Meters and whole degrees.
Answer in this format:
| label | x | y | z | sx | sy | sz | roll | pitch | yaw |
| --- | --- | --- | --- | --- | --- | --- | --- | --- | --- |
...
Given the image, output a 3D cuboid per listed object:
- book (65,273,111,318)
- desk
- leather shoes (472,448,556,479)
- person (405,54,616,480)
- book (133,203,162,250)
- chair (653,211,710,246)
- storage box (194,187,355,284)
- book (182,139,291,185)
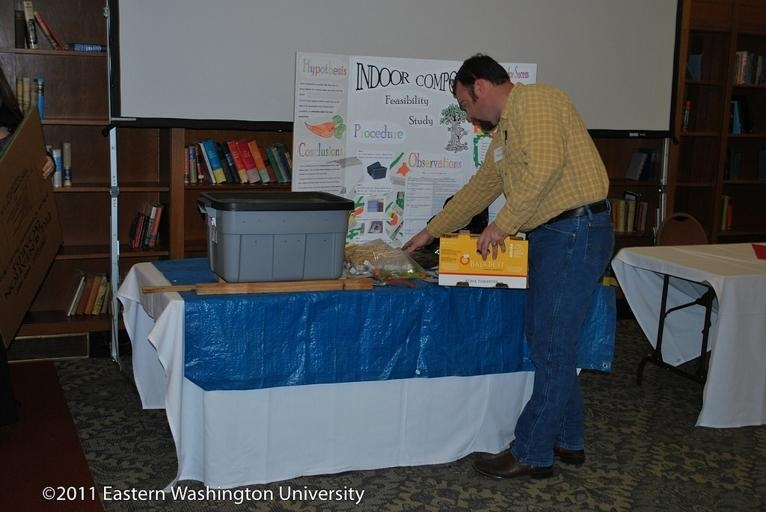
| label | x | y | z | sx | sy | sz | roll | pitch | yaw |
| --- | --- | --- | --- | --- | --- | --- | --- | --- | --- |
| book | -2.374 | 0.345 | 4.909 | 0.314 | 0.345 | 0.086 | 3 | -16 | 17 |
| desk | -0.261 | 0.613 | 3.536 | 1.857 | 0.856 | 1.293 | -6 | 16 | -22 |
| leather shoes | 0.752 | 1.170 | 3.548 | 0.456 | 0.213 | 0.181 | 3 | 0 | 1 |
| person | 0.801 | 0.091 | 3.396 | 0.893 | 2.354 | 0.553 | 4 | 14 | 22 |
| book | -1.979 | -0.243 | 5.071 | 0.120 | 0.366 | 0.267 | 7 | 2 | -33 |
| chair | 2.476 | -0.251 | 5.142 | 0.311 | 0.478 | 0.338 | -1 | 3 | -4 |
| storage box | -0.568 | -0.106 | 3.266 | 0.772 | 0.470 | 0.359 | -7 | 15 | -19 |
| book | -1.207 | -0.789 | 5.105 | 0.894 | 0.396 | 0.209 | -7 | 15 | -20 |
